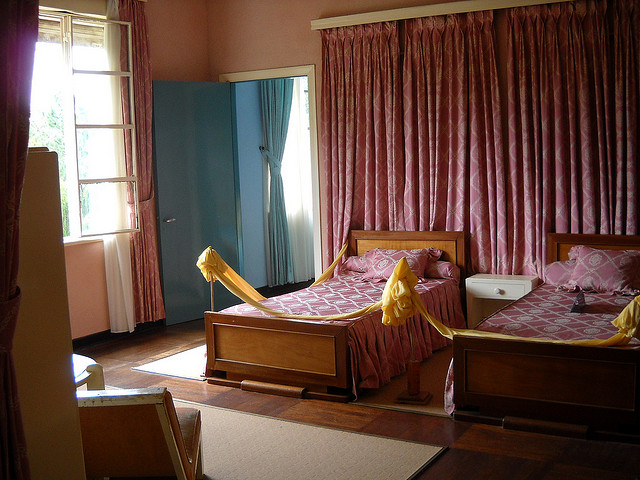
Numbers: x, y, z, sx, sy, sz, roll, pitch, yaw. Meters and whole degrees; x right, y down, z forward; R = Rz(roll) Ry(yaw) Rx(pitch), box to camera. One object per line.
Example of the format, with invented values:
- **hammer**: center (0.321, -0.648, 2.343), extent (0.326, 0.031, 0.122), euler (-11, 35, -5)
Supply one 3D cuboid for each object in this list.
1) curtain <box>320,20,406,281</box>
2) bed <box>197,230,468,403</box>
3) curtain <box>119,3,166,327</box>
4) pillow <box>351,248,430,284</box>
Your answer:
- **curtain**: center (0.502, -1.029, 5.607), extent (0.849, 2.740, 0.153), euler (2, 8, 22)
- **bed**: center (0.204, 0.555, 4.880), extent (1.556, 1.273, 2.296), euler (-1, 3, 34)
- **curtain**: center (-1.959, -0.793, 5.641), extent (0.386, 3.106, 0.198), euler (-3, 7, -41)
- **pillow**: center (0.749, 0.235, 5.218), extent (0.680, 0.360, 0.447), euler (6, 9, 29)
